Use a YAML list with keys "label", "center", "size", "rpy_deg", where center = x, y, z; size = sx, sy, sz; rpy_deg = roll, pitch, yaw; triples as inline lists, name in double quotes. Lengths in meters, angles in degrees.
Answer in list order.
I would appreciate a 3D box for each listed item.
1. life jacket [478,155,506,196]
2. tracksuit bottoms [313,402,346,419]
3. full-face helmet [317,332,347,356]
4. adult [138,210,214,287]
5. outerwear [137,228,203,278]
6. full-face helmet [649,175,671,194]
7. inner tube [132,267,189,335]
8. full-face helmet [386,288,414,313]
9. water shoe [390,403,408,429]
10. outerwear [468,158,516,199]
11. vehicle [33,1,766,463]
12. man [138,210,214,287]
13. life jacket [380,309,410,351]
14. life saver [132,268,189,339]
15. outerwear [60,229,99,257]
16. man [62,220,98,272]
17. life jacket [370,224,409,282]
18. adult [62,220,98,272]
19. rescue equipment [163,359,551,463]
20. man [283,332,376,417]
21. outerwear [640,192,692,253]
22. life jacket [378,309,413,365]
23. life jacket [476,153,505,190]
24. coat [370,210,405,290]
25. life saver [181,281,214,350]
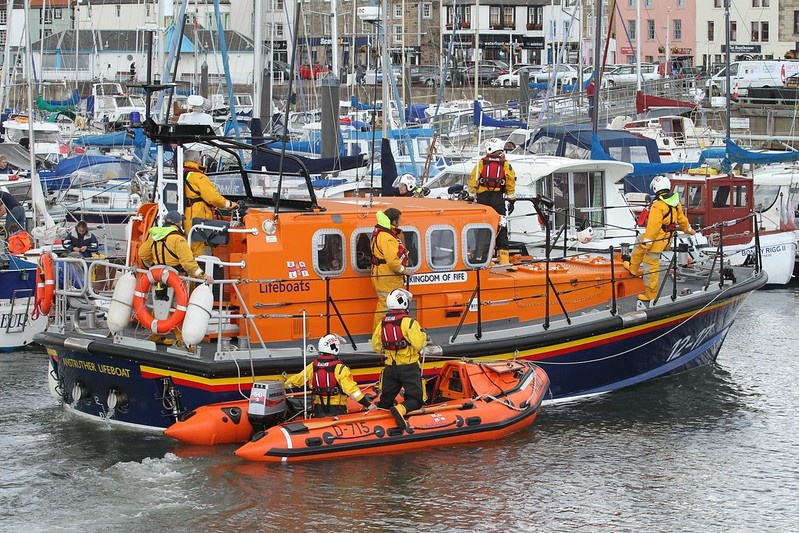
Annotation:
- label: "life jacket"
  center: [1.575, -1.606, 21.848]
  size: [0.531, 0.703, 0.384]
  rpy_deg: [8, 17, 4]
- label: "tracksuit bottoms"
  center: [-1.066, 2.241, 19.261]
  size: [0.321, 0.250, 0.261]
  rpy_deg: [-19, -15, 36]
- label: "full-face helmet"
  center: [-1.039, 1.203, 19.104]
  size: [0.351, 0.280, 0.284]
  rpy_deg: [-14, 23, -30]
- label: "adult"
  center: [-3.429, -0.249, 19.519]
  size: [0.746, 1.244, 0.483]
  rpy_deg: [20, 39, 26]
- label: "outerwear"
  center: [-3.570, -0.224, 19.613]
  size: [1.130, 0.829, 0.521]
  rpy_deg: [6, 13, 28]
- label: "full-face helmet"
  center: [4.383, -1.405, 21.471]
  size: [0.274, 0.286, 0.322]
  rpy_deg: [6, 8, -34]
- label: "inner tube"
  center: [-3.625, 0.555, 19.264]
  size: [0.909, 1.018, 0.280]
  rpy_deg: [0, -4, 16]
- label: "full-face helmet"
  center: [-0.033, 0.508, 19.301]
  size: [0.384, 0.326, 0.274]
  rpy_deg: [-23, 26, -33]
- label: "water shoe"
  center: [-0.031, 2.351, 19.231]
  size: [0.239, 0.385, 0.156]
  rpy_deg: [-4, 7, -14]
- label: "outerwear"
  center: [1.565, -1.564, 22.026]
  size: [0.828, 0.802, 0.421]
  rpy_deg: [-3, 12, -8]
- label: "vehicle"
  center: [0.097, 0.576, 21.046]
  size: [10.541, 4.348, 5.009]
  rpy_deg: [-6, 20, -17]
- label: "man"
  center: [-3.429, -0.249, 19.519]
  size: [0.746, 1.244, 0.483]
  rpy_deg: [20, 39, 26]
- label: "life jacket"
  center: [-0.086, 1.053, 19.358]
  size: [0.513, 0.669, 0.488]
  rpy_deg: [-8, -11, 16]
- label: "life saver"
  center: [-3.662, 0.563, 19.417]
  size: [0.906, 1.020, 0.281]
  rpy_deg: [0, -4, 17]
- label: "outerwear"
  center: [-6.111, -0.429, 24.119]
  size: [0.550, 0.594, 0.340]
  rpy_deg: [-5, -1, -28]
- label: "man"
  center: [-6.166, -0.240, 24.453]
  size: [0.606, 1.348, 0.405]
  rpy_deg: [1, 24, -13]
- label: "life jacket"
  center: [-0.200, -0.190, 19.616]
  size: [0.422, 0.660, 0.699]
  rpy_deg: [-10, 21, -17]
- label: "adult"
  center: [-6.190, -0.237, 24.424]
  size: [0.600, 1.324, 0.404]
  rpy_deg: [0, 24, -21]
- label: "rescue equipment"
  center: [-0.101, 2.384, 19.636]
  size: [4.459, 1.065, 2.207]
  rpy_deg: [-5, 8, -18]
- label: "man"
  center: [-1.112, 1.734, 19.317]
  size: [1.082, 1.347, 0.480]
  rpy_deg: [8, 33, 12]
- label: "outerwear"
  center: [4.442, -0.799, 21.292]
  size: [1.139, 0.987, 0.440]
  rpy_deg: [-15, 24, -35]
- label: "life jacket"
  center: [-0.085, 1.048, 19.348]
  size: [0.474, 0.646, 0.456]
  rpy_deg: [-4, -3, 15]
- label: "life jacket"
  center: [1.569, -1.680, 22.023]
  size: [0.541, 0.740, 0.406]
  rpy_deg: [1, 31, -3]
- label: "coat"
  center: [-0.205, -0.236, 19.603]
  size: [0.473, 1.291, 0.579]
  rpy_deg: [-15, 39, -18]
- label: "life saver"
  center: [-3.063, 0.758, 19.110]
  size: [0.482, 0.978, 0.266]
  rpy_deg: [-3, 7, -11]
